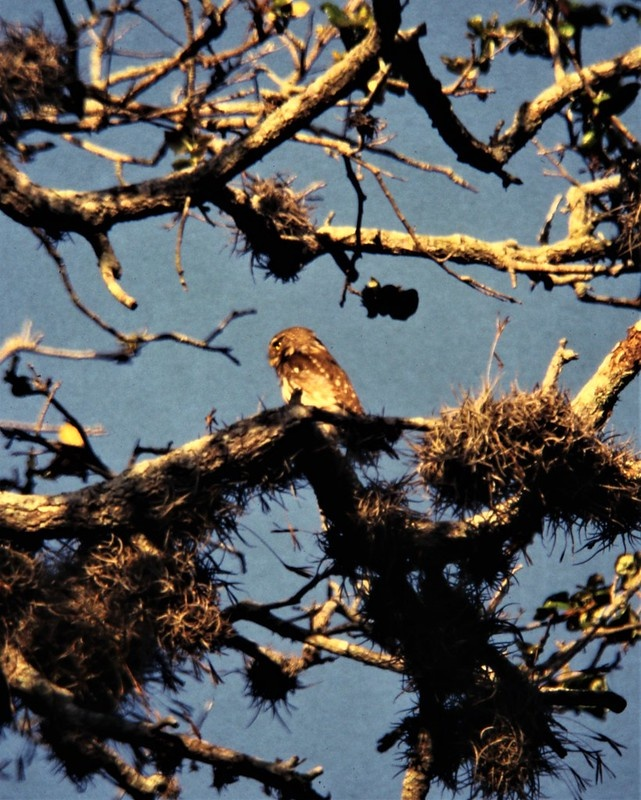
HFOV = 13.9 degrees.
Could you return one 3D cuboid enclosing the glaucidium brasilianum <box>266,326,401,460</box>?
[{"bbox_3d":[0.035,-0.019,12.984,0.605,0.793,0.356,-3,-35,10],"label":"glaucidium brasilianum"}]
